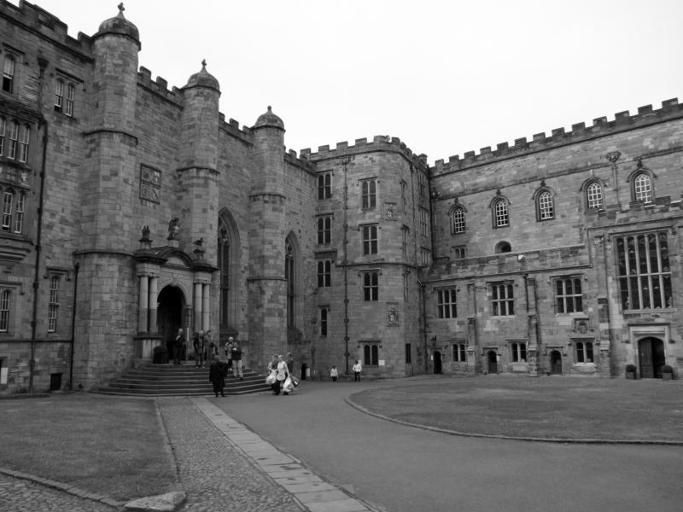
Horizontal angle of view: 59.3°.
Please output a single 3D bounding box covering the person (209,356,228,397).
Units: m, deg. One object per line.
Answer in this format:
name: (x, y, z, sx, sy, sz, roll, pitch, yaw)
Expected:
person: (-5.788, 5.584, 28.025, 0.720, 1.929, 0.960, 1, -4, -14)
